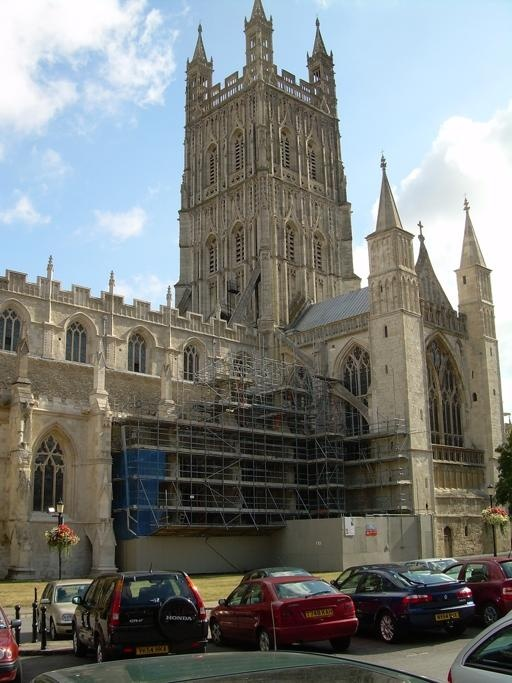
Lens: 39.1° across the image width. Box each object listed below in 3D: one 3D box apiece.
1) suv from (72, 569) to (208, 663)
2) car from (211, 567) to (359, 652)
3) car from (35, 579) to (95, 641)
[{"bbox_3d":[-1.972,4.210,11.487,1.333,1.163,2.431,8,-18,-23],"label":"suv"},{"bbox_3d":[0.305,4.707,12.400,1.392,1.274,2.430,7,-16,-33],"label":"car"},{"bbox_3d":[-4.264,5.859,16.034,1.476,1.211,2.491,7,-33,-20],"label":"car"}]
